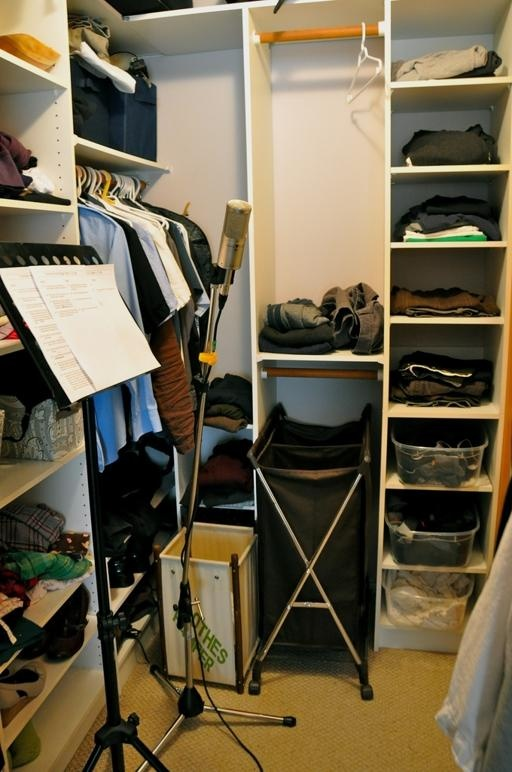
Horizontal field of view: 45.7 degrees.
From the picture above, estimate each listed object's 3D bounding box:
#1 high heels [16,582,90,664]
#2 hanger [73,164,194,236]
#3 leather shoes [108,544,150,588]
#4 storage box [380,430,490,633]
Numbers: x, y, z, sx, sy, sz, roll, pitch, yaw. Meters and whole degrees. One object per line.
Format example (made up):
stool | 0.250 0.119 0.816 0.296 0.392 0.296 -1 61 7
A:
high heels | -0.574 0.719 1.814 0.119 0.239 0.062 17 -16 4
hanger | -0.397 -0.669 2.150 0.371 0.257 0.826 -2 11 -6
leather shoes | -0.455 0.661 2.192 0.081 0.104 0.145 -1 -11 8
storage box | 0.654 0.516 2.240 0.348 0.742 0.453 2 11 14
